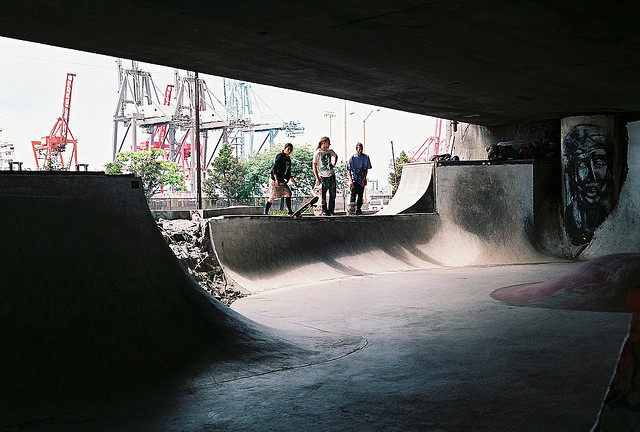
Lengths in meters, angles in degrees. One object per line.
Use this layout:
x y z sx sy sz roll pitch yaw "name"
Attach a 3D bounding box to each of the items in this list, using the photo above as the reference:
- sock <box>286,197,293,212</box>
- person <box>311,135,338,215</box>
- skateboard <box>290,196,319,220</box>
-0.722 -0.263 11.298 0.106 0.336 0.238 -2 6 -7 "sock"
0.112 -0.890 11.338 0.549 1.780 1.161 -1 6 0 "person"
-0.341 -0.166 10.164 0.354 0.350 1.271 0 5 10 "skateboard"
